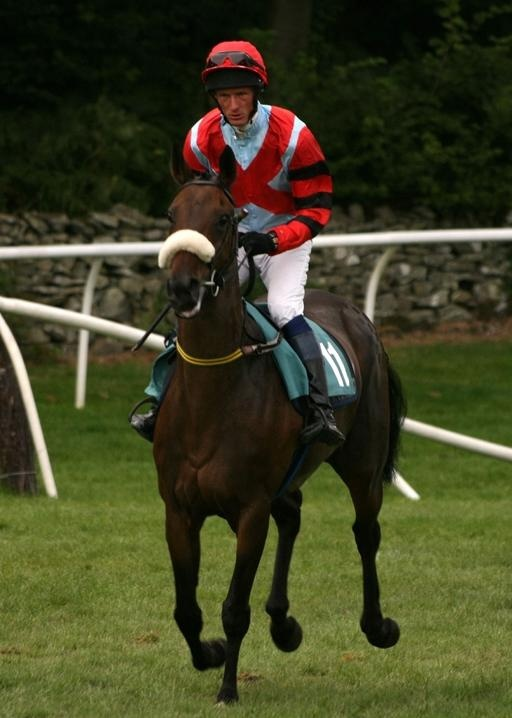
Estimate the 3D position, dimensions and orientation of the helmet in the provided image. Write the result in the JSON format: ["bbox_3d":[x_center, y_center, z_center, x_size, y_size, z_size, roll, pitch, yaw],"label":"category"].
[{"bbox_3d":[-0.064,-0.875,3.300,0.194,0.169,0.171,4,7,-4],"label":"helmet"}]

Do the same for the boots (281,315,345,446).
[{"bbox_3d":[0.156,0.074,3.393,0.189,0.374,0.101,-3,-12,-35],"label":"boots"}]
